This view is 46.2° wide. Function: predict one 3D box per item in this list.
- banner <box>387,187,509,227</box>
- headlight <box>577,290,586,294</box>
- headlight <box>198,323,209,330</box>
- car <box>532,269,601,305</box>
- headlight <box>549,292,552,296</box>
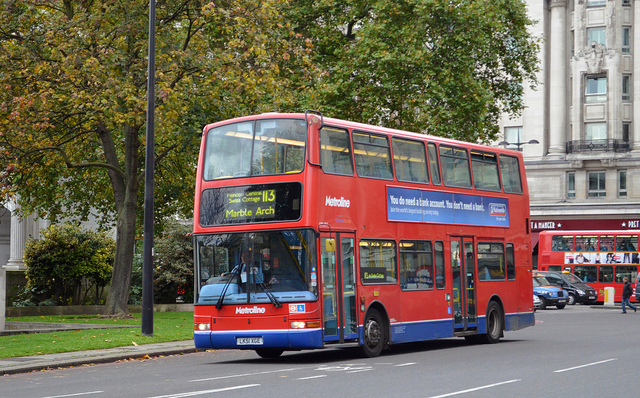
[{"bbox_3d":[4.747,0.364,27.000,6.657,1.306,0.217,6,-12,-33],"label":"banner"},{"bbox_3d":[17.426,6.193,50.327,0.509,0.217,0.097,2,-9,-20],"label":"headlight"},{"bbox_3d":[-3.694,4.037,23.820,0.385,0.186,0.040,-6,-9,24],"label":"headlight"},{"bbox_3d":[16.585,5.964,51.767,2.615,2.016,4.479,-5,2,-40],"label":"car"},{"bbox_3d":[14.855,6.140,48.572,0.215,0.219,0.052,-5,7,26],"label":"headlight"}]
